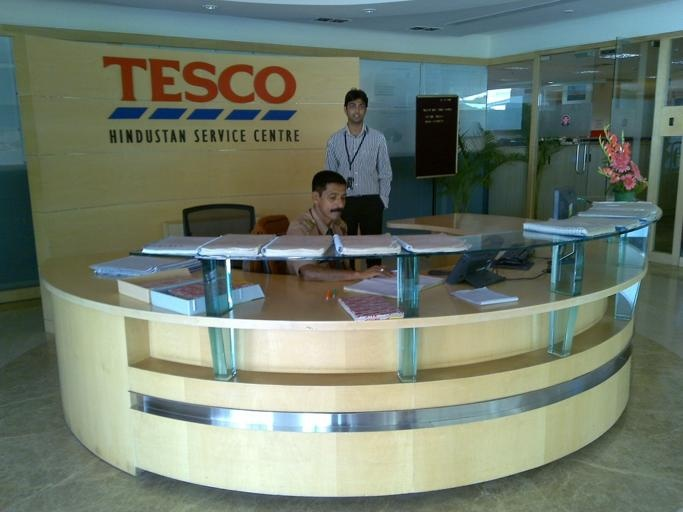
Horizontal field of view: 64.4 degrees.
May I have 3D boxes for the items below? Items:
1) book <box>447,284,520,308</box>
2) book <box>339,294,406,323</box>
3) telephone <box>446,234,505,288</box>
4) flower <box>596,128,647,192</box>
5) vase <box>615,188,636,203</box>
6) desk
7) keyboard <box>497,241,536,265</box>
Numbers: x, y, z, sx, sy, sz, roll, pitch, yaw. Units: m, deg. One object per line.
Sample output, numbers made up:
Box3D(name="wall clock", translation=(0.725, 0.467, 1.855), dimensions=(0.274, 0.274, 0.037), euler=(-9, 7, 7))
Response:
Box3D(name="book", translation=(0.817, 0.237, 3.118), dimensions=(0.239, 0.033, 0.349), euler=(-13, 17, -42))
Box3D(name="book", translation=(0.150, 0.275, 2.996), dimensions=(0.269, 0.054, 0.408), euler=(-4, 13, -14))
Box3D(name="telephone", translation=(0.844, 0.036, 3.415), dimensions=(0.286, 0.254, 0.205), euler=(-18, 17, -27))
Box3D(name="flower", translation=(2.387, -0.751, 4.536), dimensions=(0.399, 0.553, 0.367), euler=(9, 24, 36))
Box3D(name="vase", translation=(2.348, -0.509, 4.491), dimensions=(0.128, 0.070, 0.120), euler=(-3, 9, -10))
Box3D(name="desk", translation=(0.091, 0.599, 3.469), dimensions=(3.816, 1.471, 1.201), euler=(-3, 14, -11))
Box3D(name="keyboard", translation=(1.206, -0.011, 3.592), dimensions=(0.215, 0.078, 0.283), euler=(-5, 6, -11))
